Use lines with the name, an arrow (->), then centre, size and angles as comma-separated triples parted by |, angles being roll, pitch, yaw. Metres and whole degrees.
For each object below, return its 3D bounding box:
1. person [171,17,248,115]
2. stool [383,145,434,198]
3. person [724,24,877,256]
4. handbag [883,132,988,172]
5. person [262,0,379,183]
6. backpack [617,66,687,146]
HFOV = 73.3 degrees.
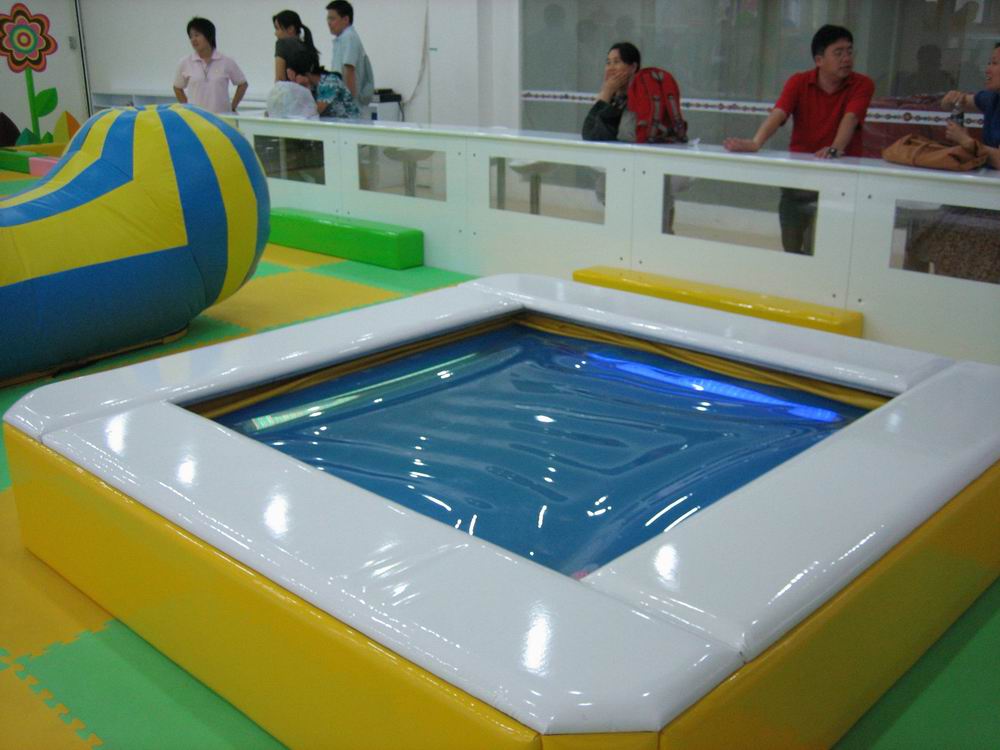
person -> -3.067, -2.990, 7.131 | 0.691, 1.474, 0.351 | -7, 2, -18
stool -> -0.691, -1.622, 5.258 | 0.340, 0.434, 0.376 | 1, 35, -2
person -> 2.087, -1.672, 4.657 | 0.845, 1.193, 2.696 | 13, 23, 28
handbag -> 2.157, -1.101, 3.353 | 0.311, 0.106, 0.258 | 19, 26, 40
person -> -1.696, -2.658, 6.232 | 1.002, 1.542, 1.573 | -2, 20, -11
backpack -> 0.981, -1.676, 4.266 | 0.315, 0.520, 0.256 | -1, 0, -21
